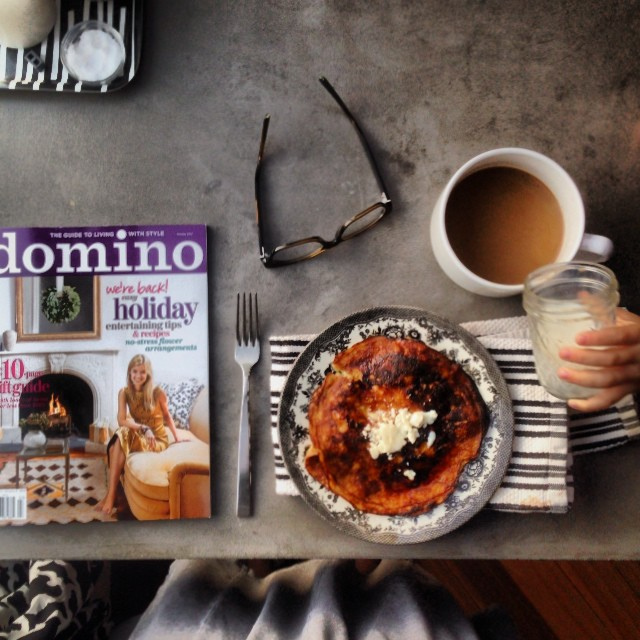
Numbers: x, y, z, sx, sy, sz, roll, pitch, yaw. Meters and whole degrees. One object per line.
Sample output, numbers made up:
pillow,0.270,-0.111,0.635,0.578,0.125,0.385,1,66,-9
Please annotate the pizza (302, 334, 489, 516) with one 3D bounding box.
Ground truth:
pizza,0.101,0.149,0.915,0.237,0.024,0.243,28,84,5

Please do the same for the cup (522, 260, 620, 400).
cup,0.314,0.009,0.824,0.113,0.173,0.110,-6,71,17

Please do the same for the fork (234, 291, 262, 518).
fork,-0.106,0.120,0.957,0.040,0.027,0.326,-1,82,1

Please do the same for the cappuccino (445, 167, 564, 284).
cappuccino,0.254,-0.131,0.909,0.145,0.025,0.159,-4,82,1

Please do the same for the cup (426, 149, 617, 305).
cup,0.259,-0.125,0.889,0.199,0.087,0.199,0,82,1
